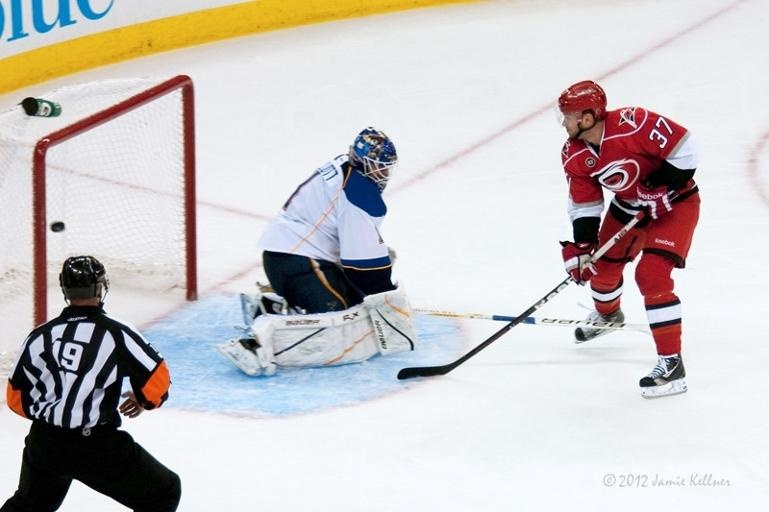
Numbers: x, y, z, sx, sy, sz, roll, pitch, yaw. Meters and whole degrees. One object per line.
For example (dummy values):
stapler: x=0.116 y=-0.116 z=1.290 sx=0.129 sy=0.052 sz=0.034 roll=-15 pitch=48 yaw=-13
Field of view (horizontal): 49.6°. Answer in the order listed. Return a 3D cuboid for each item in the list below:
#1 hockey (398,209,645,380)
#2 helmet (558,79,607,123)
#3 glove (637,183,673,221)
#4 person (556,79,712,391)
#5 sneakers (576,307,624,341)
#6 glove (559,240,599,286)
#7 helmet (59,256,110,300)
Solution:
hockey: x=0.864 y=0.269 z=5.113 sx=1.758 sy=0.219 sz=0.155 roll=-30 pitch=-28 yaw=4
helmet: x=1.064 y=-0.793 z=4.430 sx=0.291 sy=0.228 sz=0.230 roll=-2 pitch=20 yaw=19
glove: x=1.438 y=-0.297 z=4.421 sx=0.075 sy=0.174 sz=0.183 roll=-35 pitch=-2 yaw=-30
person: x=1.357 y=-0.076 z=4.576 sx=0.736 sy=1.674 sz=0.843 roll=-4 pitch=-9 yaw=10
sneakers: x=1.317 y=0.384 z=4.916 sx=0.395 sy=0.137 sz=0.135 roll=-14 pitch=-12 yaw=-36
glove: x=1.096 y=0.032 z=4.677 sx=0.255 sy=0.214 sz=0.106 roll=6 pitch=12 yaw=34
helmet: x=-1.260 y=0.112 z=3.466 sx=0.221 sy=0.197 sz=0.233 roll=-5 pitch=5 yaw=-13
